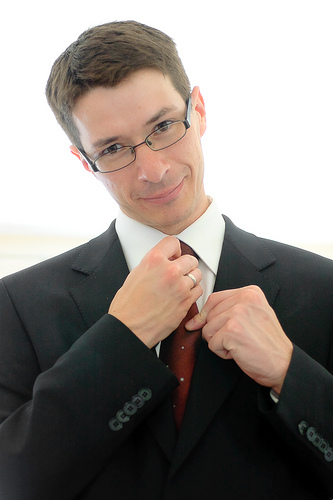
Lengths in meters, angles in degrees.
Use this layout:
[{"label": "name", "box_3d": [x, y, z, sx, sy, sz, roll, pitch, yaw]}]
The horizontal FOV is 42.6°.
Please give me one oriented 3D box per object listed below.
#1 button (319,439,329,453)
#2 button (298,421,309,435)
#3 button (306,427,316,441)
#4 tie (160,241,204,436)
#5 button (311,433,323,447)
[{"label": "button", "box_3d": [0.408, 0.511, 1.115, 0.023, 0.023, 0.006, -6, -1, -35]}, {"label": "button", "box_3d": [0.351, 0.459, 1.109, 0.024, 0.030, 0.009, 4, -5, -31]}, {"label": "button", "box_3d": [0.374, 0.478, 1.109, 0.022, 0.030, 0.011, 5, -10, -9]}, {"label": "tie", "box_3d": [0.042, 0.305, 1.264, 0.064, 0.451, 0.044, 19, -14, -1]}, {"label": "button", "box_3d": [0.392, 0.497, 1.114, 0.014, 0.029, 0.029, -18, 37, 57]}]
